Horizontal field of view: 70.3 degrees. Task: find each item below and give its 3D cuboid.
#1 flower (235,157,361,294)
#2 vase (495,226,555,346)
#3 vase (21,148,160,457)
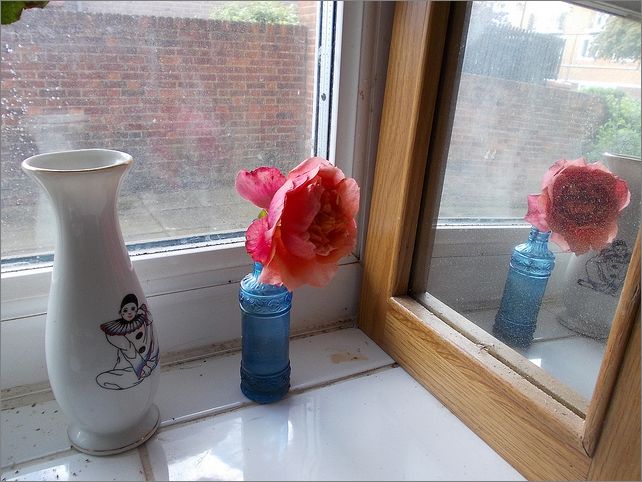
[{"bbox_3d":[-0.071,-0.042,0.770,0.219,0.129,0.191,38,50,25],"label":"flower"},{"bbox_3d":[0.341,0.081,0.759,0.050,0.202,0.078,-21,33,-38],"label":"vase"},{"bbox_3d":[-0.354,0.104,0.725,0.181,0.462,0.183,-16,30,-31],"label":"vase"}]
